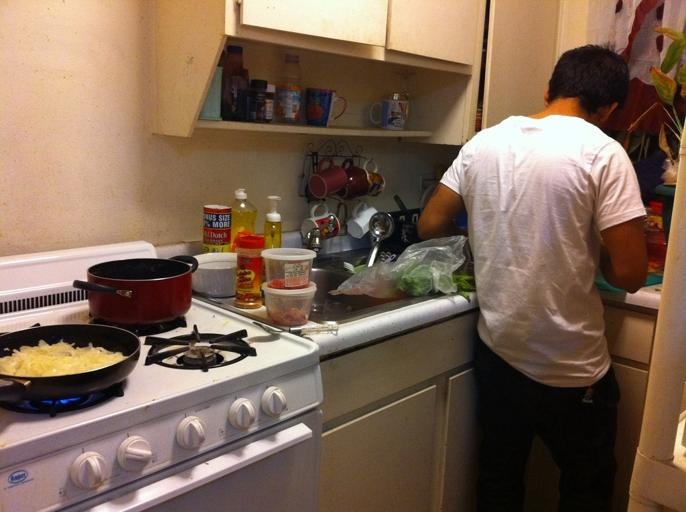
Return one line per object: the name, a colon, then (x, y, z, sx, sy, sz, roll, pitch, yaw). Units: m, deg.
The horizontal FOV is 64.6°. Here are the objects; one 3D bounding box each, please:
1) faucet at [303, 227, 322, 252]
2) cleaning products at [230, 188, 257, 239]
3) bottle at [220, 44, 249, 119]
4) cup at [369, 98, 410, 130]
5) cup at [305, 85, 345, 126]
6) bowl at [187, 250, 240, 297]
faucet: (-0.115, -0.064, 2.034, 0.100, 0.089, 0.052, 1, 1, 38)
cleaning products: (-0.352, -0.137, 1.890, 0.108, 0.176, 0.107, 9, 16, 27)
bottle: (-0.358, -0.559, 1.756, 0.103, 0.235, 0.061, -8, 17, -26)
cup: (0.190, -0.587, 2.275, 0.179, 0.117, 0.108, 6, 11, 18)
cup: (-0.073, -0.552, 2.036, 0.187, 0.125, 0.121, 2, 11, -12)
bowl: (-0.398, 0.055, 1.652, 0.138, 0.121, 0.085, 6, 21, 13)
